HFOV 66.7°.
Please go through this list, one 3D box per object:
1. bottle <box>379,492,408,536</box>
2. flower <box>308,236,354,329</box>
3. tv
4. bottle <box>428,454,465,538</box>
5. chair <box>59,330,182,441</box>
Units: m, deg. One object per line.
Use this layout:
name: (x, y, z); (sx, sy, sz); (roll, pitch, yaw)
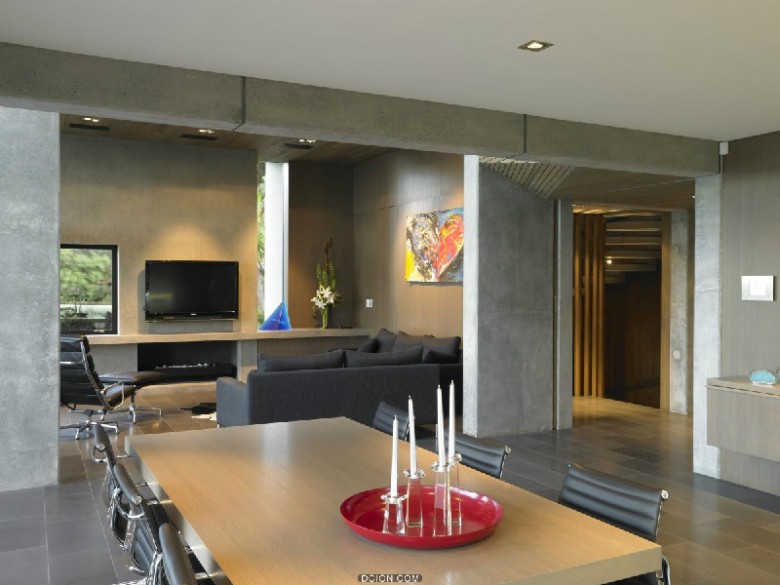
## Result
bottle: (0.008, 0.914, 2.462); (0.127, 0.146, 0.123); (-6, -17, 28)
flower: (-1.207, -0.217, 11.651); (0.676, 1.783, 0.837); (2, 3, -5)
tv: (-3.416, -0.046, 9.953); (1.189, 0.734, 0.151); (0, 0, -25)
bottle: (0.242, 0.819, 2.435); (0.128, 0.269, 0.248); (2, 3, 8)
chair: (-3.632, 1.099, 7.551); (1.016, 1.046, 1.523); (-1, -3, 31)
